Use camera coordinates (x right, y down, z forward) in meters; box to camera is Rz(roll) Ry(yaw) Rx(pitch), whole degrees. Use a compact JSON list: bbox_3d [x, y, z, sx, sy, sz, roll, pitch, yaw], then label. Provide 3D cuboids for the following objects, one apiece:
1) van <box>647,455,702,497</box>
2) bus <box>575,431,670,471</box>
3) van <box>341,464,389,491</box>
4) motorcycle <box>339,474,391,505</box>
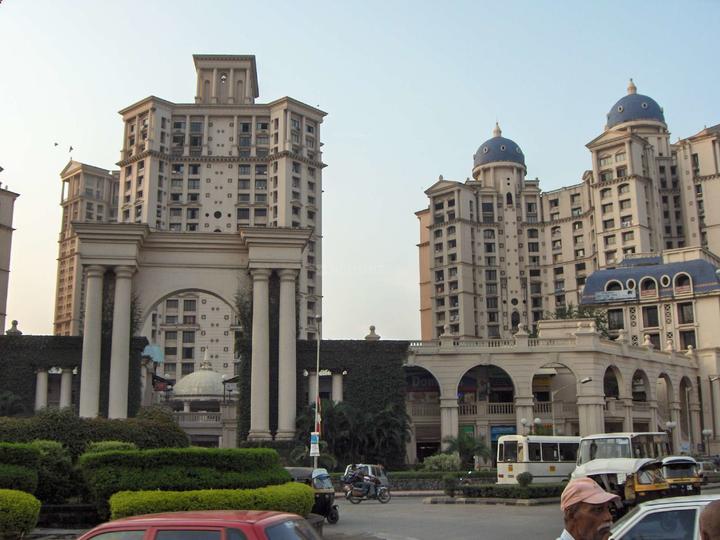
[{"bbox_3d":[11.993,7.924,31.422,1.695,1.875,1.805,11,-17,-41],"label":"van"},{"bbox_3d":[13.060,8.760,40.294,5.535,2.064,2.025,-4,-12,19],"label":"bus"},{"bbox_3d":[0.321,10.597,42.884,2.000,1.034,1.680,-1,-3,-9],"label":"van"},{"bbox_3d":[0.315,11.069,41.634,1.973,1.384,1.294,4,-11,-17],"label":"motorcycle"}]
